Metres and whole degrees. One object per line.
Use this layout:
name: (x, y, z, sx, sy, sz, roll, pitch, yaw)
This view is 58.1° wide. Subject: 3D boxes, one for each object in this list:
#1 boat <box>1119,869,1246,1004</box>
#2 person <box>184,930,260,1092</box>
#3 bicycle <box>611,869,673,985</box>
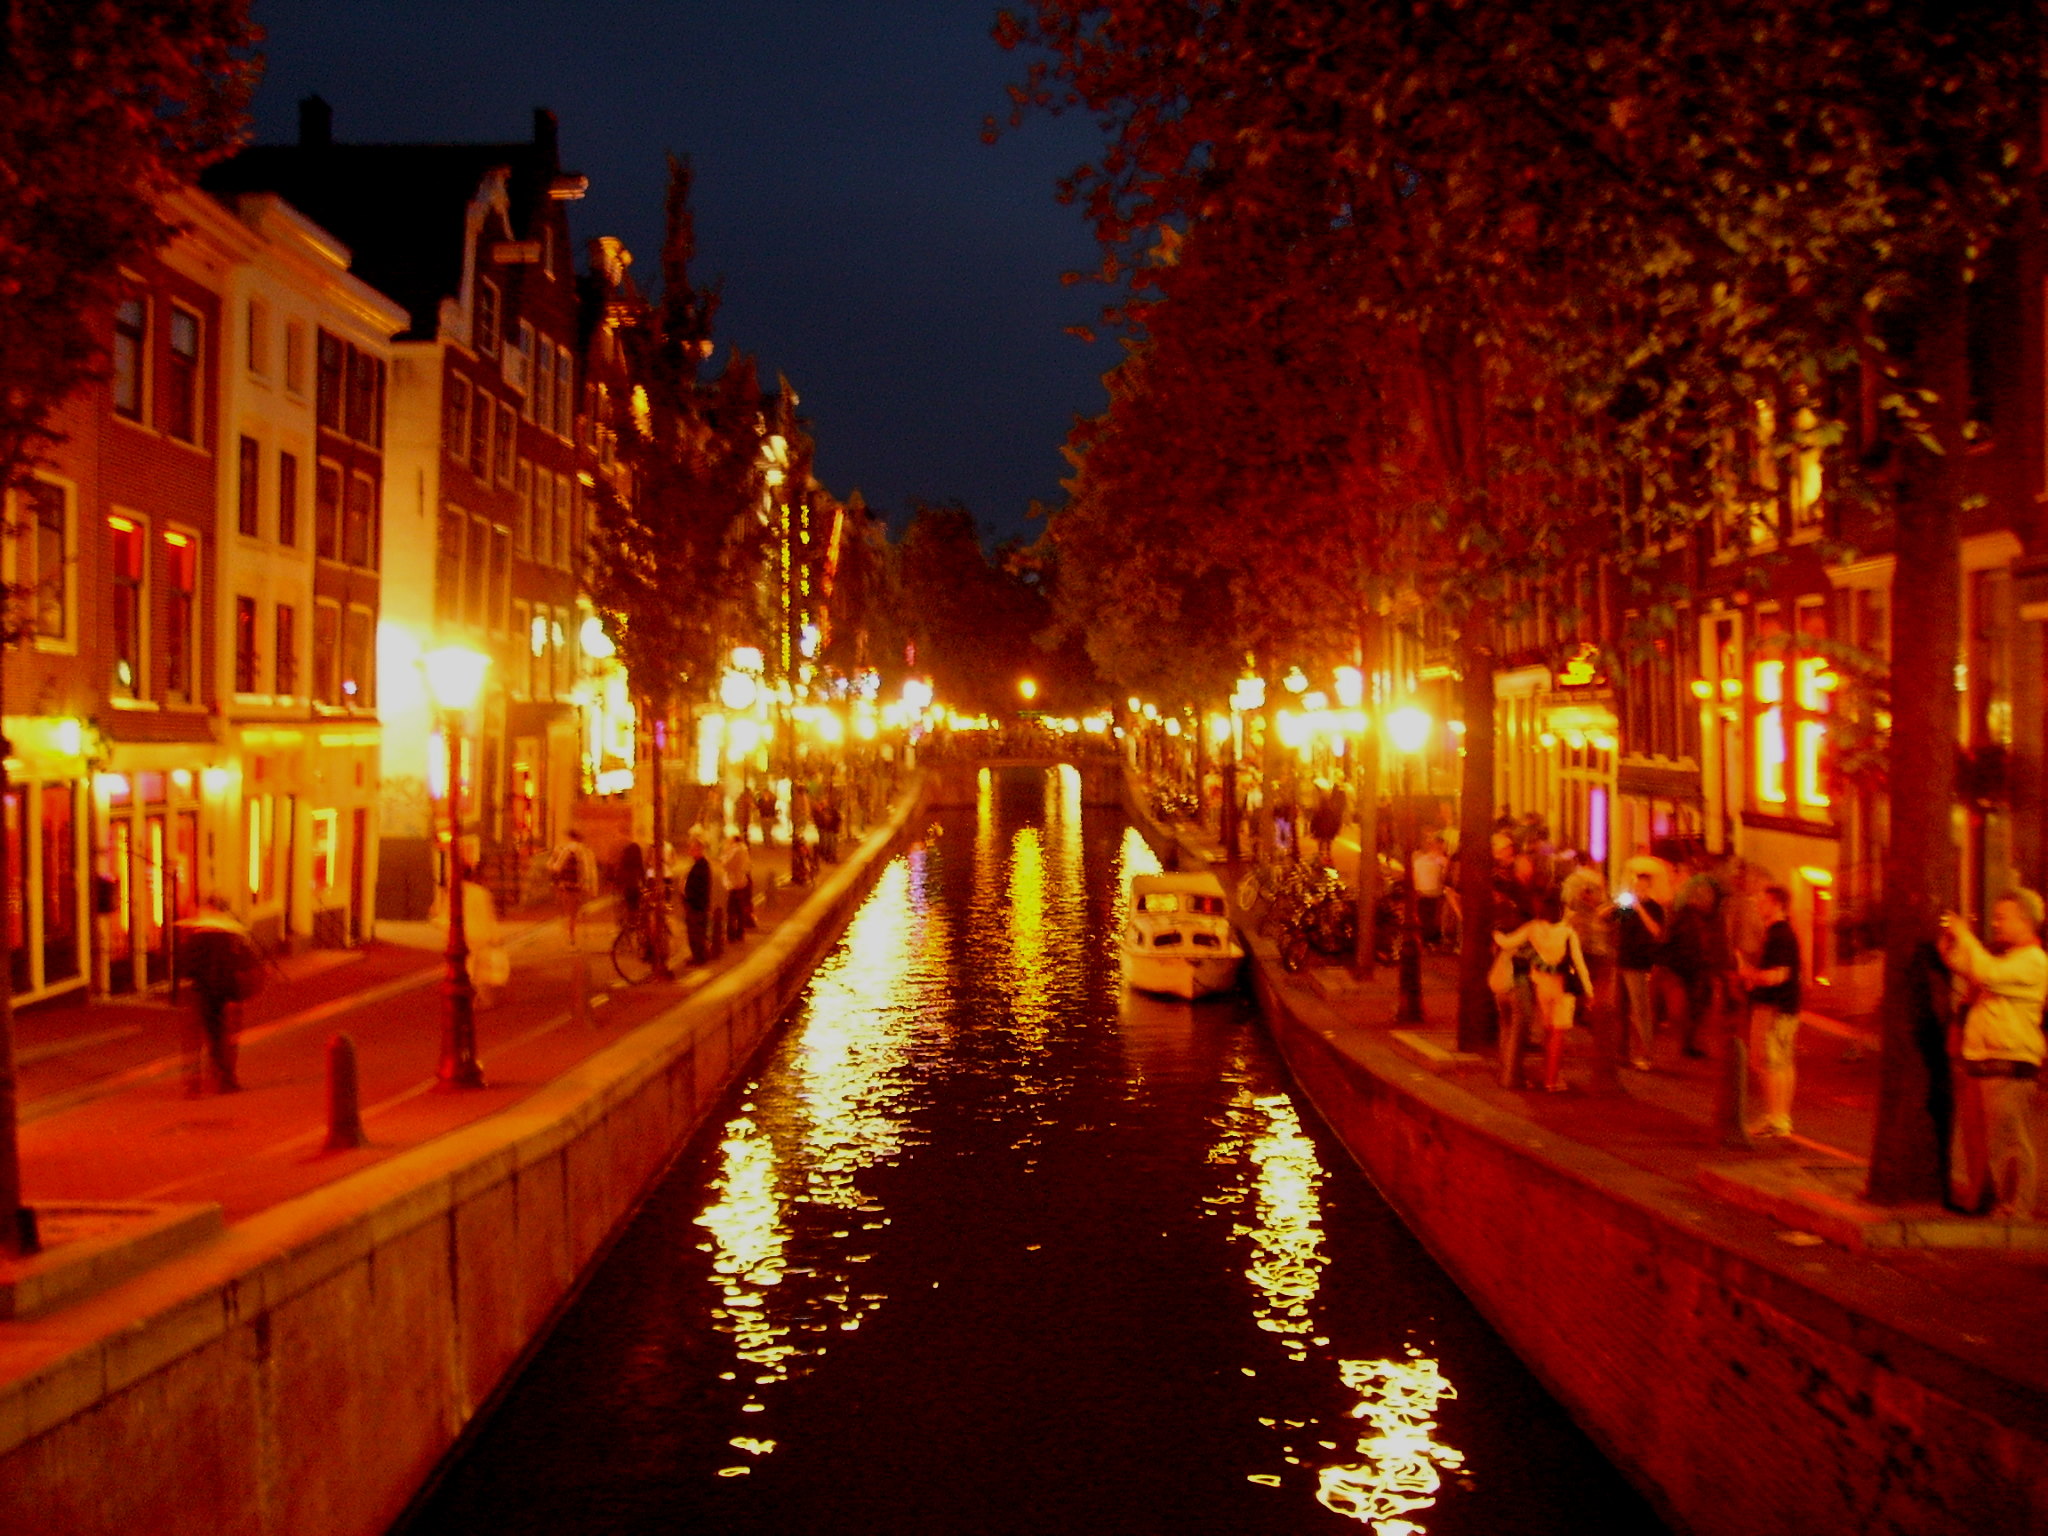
boat: (2.966, 3.181, 34.767, 2.041, 2.111, 2.828, 0, 2, -1)
person: (-8.471, 2.525, 19.357, 0.728, 1.697, 1.126, 0, 2, -8)
bicycle: (-5.994, 2.624, 28.649, 0.841, 1.236, 1.861, 0, -4, -7)
